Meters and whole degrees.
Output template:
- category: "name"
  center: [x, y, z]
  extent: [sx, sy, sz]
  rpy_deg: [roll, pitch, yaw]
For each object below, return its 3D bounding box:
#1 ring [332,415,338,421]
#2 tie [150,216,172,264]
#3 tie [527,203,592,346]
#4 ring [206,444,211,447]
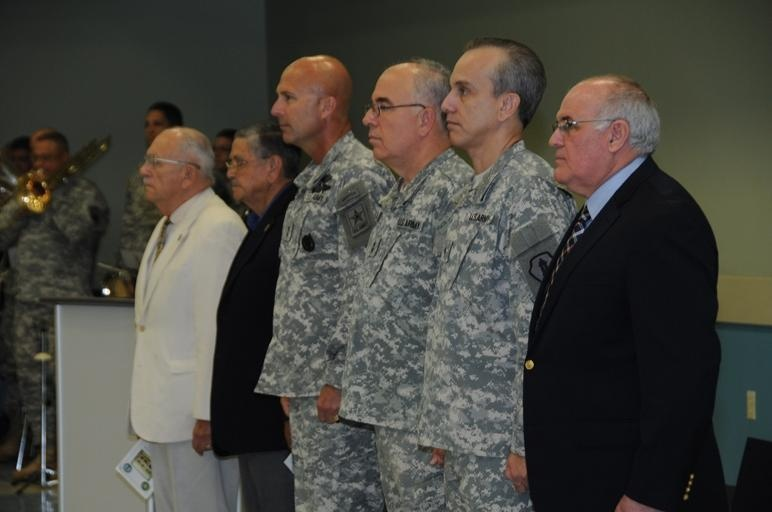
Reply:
- category: "ring"
  center: [-0.210, 0.670, 3.036]
  extent: [0.026, 0.020, 0.006]
  rpy_deg: [-3, 22, 27]
- category: "tie"
  center: [-1.120, -0.088, 3.699]
  extent: [0.049, 0.318, 0.035]
  rpy_deg: [-4, -37, 28]
- category: "tie"
  center: [0.583, 0.057, 2.450]
  extent: [0.193, 0.444, 0.170]
  rpy_deg: [8, 16, 26]
- category: "ring"
  center: [-0.839, 0.895, 3.465]
  extent: [0.012, 0.014, 0.016]
  rpy_deg: [-1, 1, 2]
